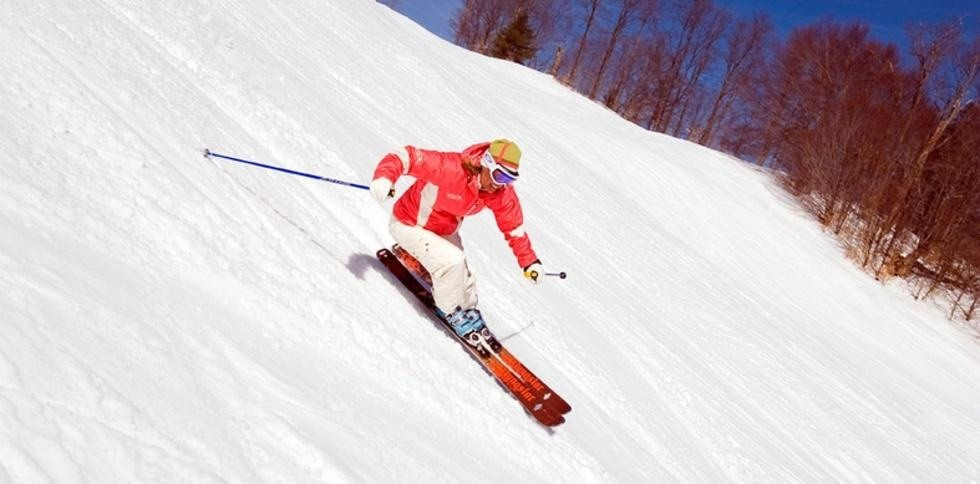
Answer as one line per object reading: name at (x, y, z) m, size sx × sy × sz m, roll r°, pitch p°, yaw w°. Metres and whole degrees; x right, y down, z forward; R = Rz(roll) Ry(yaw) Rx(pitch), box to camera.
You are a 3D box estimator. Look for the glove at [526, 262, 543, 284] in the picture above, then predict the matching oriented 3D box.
glove at (1.161, 0.842, 23.021) m, size 0.439 × 0.242 × 0.535 m, roll -10°, pitch 49°, yaw -12°
